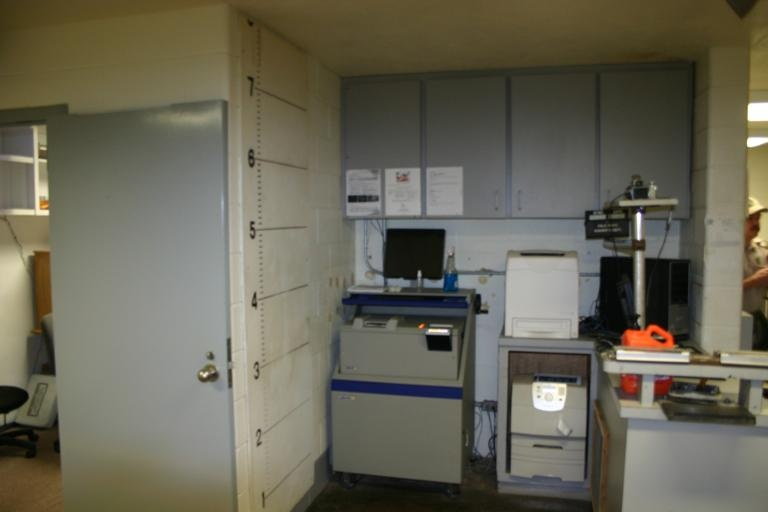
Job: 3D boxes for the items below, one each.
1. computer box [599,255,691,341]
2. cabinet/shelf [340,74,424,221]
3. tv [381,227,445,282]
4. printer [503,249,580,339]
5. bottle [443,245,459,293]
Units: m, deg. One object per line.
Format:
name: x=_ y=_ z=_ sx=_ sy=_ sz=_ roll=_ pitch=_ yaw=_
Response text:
computer box: x=1.863 y=0.298 z=4.448 sx=0.616 sy=0.580 sz=0.438 roll=1 pitch=3 yaw=20
cabinet/shelf: x=-0.052 y=-0.949 z=5.116 sx=0.716 sy=1.142 sz=0.690 roll=-11 pitch=37 yaw=-16
tv: x=0.251 y=-0.012 z=4.916 sx=0.439 sy=0.340 sz=0.058 roll=-1 pitch=-8 yaw=11
printer: x=1.074 y=0.266 z=4.667 sx=0.622 sy=0.723 sz=0.557 roll=1 pitch=4 yaw=8
bottle: x=0.517 y=0.102 z=4.819 sx=0.098 sy=0.314 sz=0.194 roll=0 pitch=3 yaw=4
